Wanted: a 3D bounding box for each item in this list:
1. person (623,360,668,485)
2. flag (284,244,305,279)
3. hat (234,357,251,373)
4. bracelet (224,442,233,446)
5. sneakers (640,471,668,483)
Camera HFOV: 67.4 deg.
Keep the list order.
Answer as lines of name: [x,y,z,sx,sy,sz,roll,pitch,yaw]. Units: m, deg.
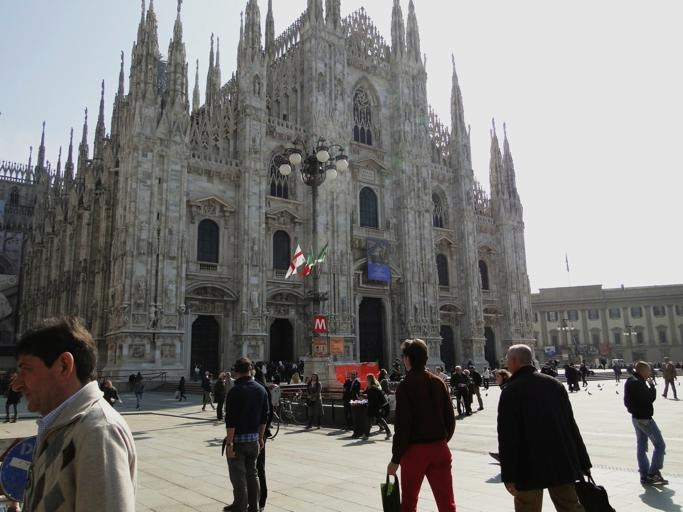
person: [4.916,2.624,8.315,0.475,1.782,1.581,-8,-13,29]
flag: [-2.784,0.417,29.758,0.141,1.675,1.844,26,-25,4]
hat: [-1.246,1.380,6.530,0.174,0.236,0.227,1,-1,-6]
bracelet: [-1.337,2.274,6.164,0.081,0.051,0.072,2,-13,-18]
sneakers: [4.606,3.303,7.609,0.393,0.184,0.148,-1,-11,0]
